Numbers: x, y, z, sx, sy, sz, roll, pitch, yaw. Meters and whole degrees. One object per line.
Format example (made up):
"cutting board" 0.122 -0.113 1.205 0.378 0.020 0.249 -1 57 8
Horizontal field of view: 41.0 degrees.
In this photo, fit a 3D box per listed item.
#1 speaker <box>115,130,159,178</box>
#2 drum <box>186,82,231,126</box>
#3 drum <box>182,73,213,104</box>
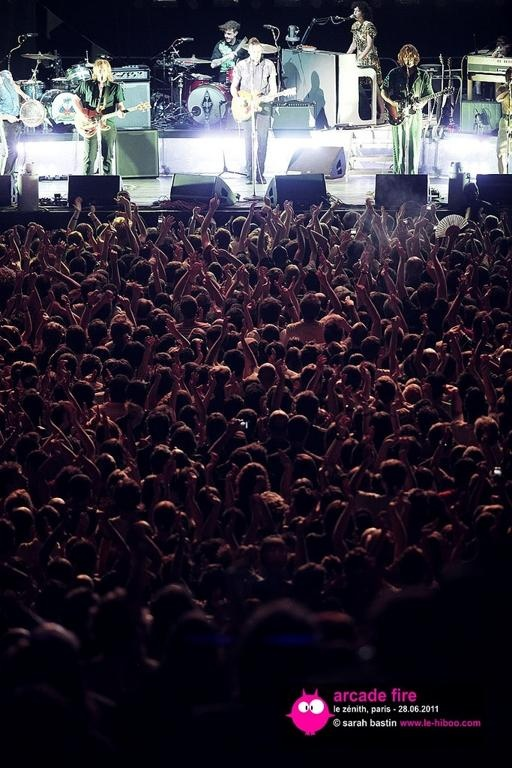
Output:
"speaker" -1.824 -3.403 10.376 0.697 0.828 0.779 0 24 -2
"drum" -0.776 -4.643 11.423 0.664 0.854 0.321 -6 4 6
"drum" -0.982 -5.119 11.793 0.470 0.570 0.503 -8 25 -23
